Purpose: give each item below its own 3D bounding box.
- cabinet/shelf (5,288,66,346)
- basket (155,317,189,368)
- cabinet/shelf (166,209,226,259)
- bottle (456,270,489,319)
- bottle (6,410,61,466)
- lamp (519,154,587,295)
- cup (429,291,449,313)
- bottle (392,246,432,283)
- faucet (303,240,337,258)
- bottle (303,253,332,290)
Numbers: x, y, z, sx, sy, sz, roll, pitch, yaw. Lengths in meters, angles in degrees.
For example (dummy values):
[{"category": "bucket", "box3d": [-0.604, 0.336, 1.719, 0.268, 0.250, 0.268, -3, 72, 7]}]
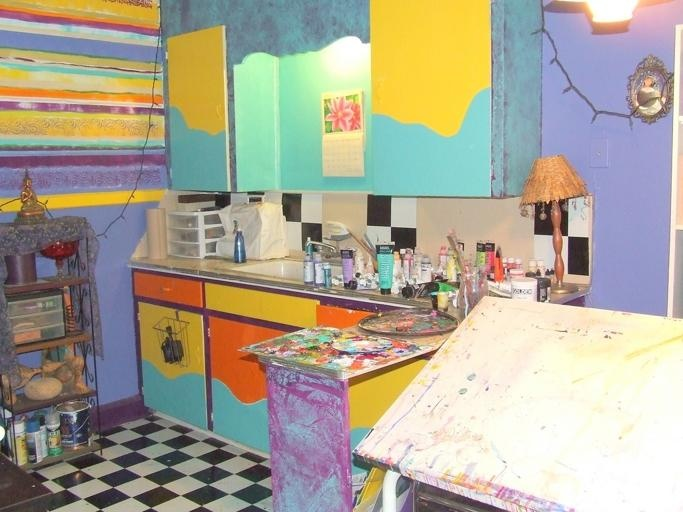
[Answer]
[{"category": "cabinet/shelf", "box3d": [-1.918, 0.365, 3.313, 0.123, 0.298, 0.357, -1, 4, 44]}, {"category": "basket", "box3d": [-1.214, 0.590, 3.776, 0.384, 0.346, 0.096, 7, 12, 44]}, {"category": "cabinet/shelf", "box3d": [-1.110, -0.174, 4.094, 0.457, 0.327, 0.376, -1, 6, 14]}, {"category": "bottle", "box3d": [0.557, 0.155, 2.177, 0.142, 0.210, 0.158, -3, 9, -7]}, {"category": "bottle", "box3d": [-1.966, 1.102, 3.398, 0.311, 0.334, 0.255, -8, 11, -36]}, {"category": "lamp", "box3d": [1.092, -0.184, 2.773, 0.339, 0.666, 0.357, 2, 10, 24]}, {"category": "cup", "box3d": [0.460, 0.204, 2.493, 0.088, 0.099, 0.088, 0, 6, 0]}, {"category": "bottle", "box3d": [0.408, 0.052, 3.100, 0.202, 0.278, 0.100, 0, 8, 6]}, {"category": "faucet", "box3d": [-0.152, -0.065, 3.579, 0.096, 0.138, 0.267, -11, 14, -39]}, {"category": "bottle", "box3d": [-0.150, 0.073, 3.158, 0.161, 0.163, 0.309, -5, 10, -19]}]
